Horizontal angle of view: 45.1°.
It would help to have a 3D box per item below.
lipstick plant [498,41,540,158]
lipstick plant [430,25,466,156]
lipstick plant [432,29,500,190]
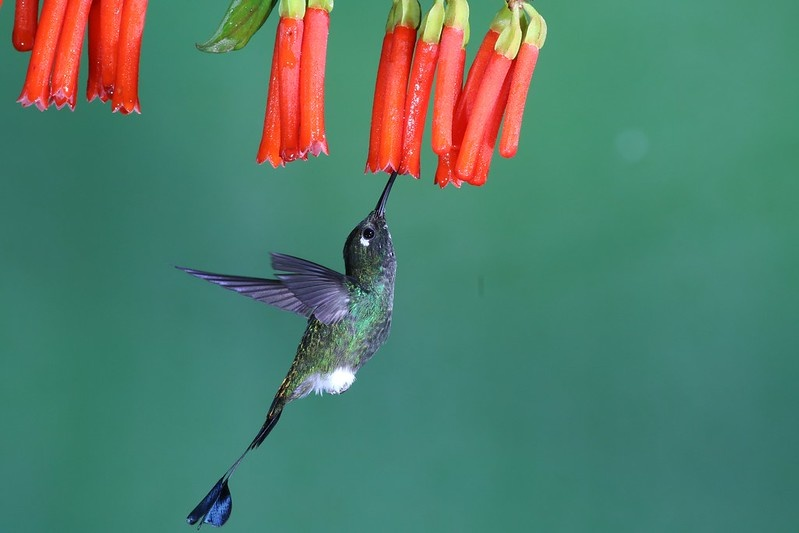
[{"bbox_3d":[0.287,-0.397,2.373,0.063,0.073,0.353,8,-86,-31],"label":"lipstick plant"},{"bbox_3d":[0.114,-0.420,2.299,0.056,0.077,0.354,6,-92,-23],"label":"lipstick plant"},{"bbox_3d":[0.163,-0.363,2.412,0.098,0.049,0.459,17,-85,12],"label":"lipstick plant"}]
